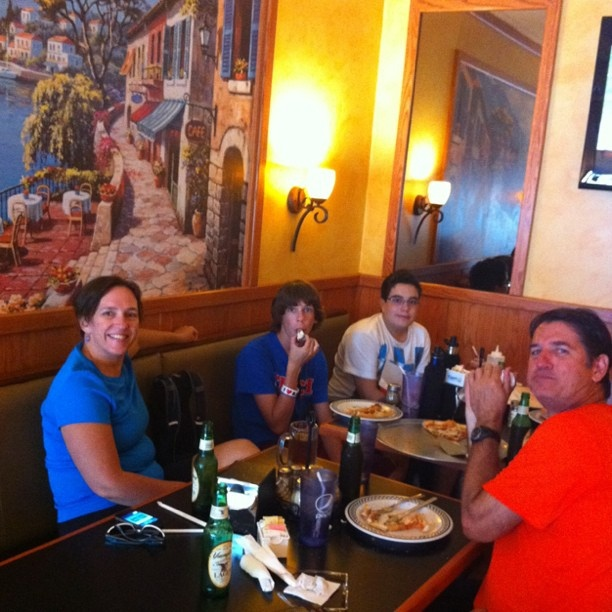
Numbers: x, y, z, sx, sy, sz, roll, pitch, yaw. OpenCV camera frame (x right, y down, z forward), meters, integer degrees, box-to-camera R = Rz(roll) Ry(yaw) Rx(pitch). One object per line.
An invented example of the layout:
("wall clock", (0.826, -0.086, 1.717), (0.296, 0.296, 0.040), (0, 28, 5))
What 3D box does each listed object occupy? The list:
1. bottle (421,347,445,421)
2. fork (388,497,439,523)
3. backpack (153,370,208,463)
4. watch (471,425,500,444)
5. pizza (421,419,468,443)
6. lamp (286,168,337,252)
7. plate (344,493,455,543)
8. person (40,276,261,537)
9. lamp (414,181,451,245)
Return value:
("bottle", (0.545, 0.318, 2.269), (0.090, 0.287, 0.165), (7, 9, 9))
("fork", (0.280, 0.514, 1.369), (0.044, 0.027, 0.186), (36, 23, 34))
("backpack", (-0.568, 0.463, 2.269), (0.197, 0.356, 0.214), (6, 4, 39))
("watch", (0.450, 0.311, 1.316), (0.050, 0.030, 0.051), (20, 1, 5))
("pizza", (0.497, 0.440, 1.900), (0.137, 0.039, 0.155), (-1, 2, -27))
("lamp", (0.027, -0.606, 3.310), (0.270, 0.453, 0.165), (-5, 13, -29))
("plate", (0.236, 0.520, 1.317), (0.254, 0.026, 0.267), (1, 2, -18))
("person", (-0.422, 0.308, 1.950), (0.756, 0.953, 0.858), (-1, 13, 3))
("lamp", (0.931, -0.705, 3.899), (0.230, 0.416, 0.177), (2, 18, 17))
